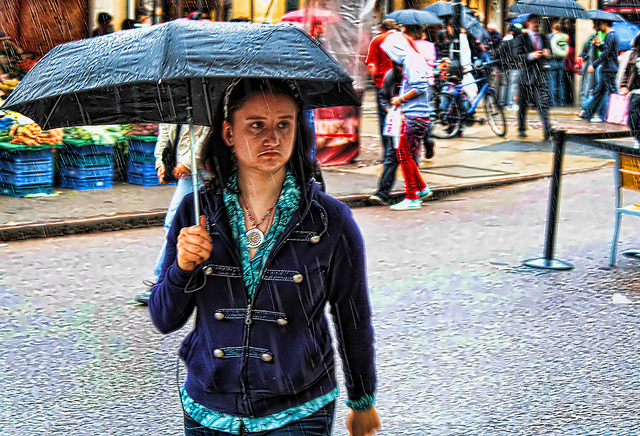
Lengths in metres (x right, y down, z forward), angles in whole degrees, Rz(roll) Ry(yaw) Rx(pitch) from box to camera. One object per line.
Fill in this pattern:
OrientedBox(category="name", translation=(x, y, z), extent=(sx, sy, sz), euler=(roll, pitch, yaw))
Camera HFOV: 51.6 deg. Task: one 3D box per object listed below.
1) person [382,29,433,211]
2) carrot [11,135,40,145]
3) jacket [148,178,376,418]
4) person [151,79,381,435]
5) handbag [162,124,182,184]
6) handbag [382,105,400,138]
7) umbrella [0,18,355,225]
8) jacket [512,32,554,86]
OrientedBox(category="person", translation=(1.346, -1.484, 10.040), extent=(0.736, 2.689, 0.841), euler=(2, 11, 9))
OrientedBox(category="carrot", translation=(-4.546, -1.212, 10.160), extent=(0.250, 0.143, 0.076), euler=(-12, -19, -43))
OrientedBox(category="jacket", translation=(-0.210, 0.335, 2.604), extent=(1.026, 0.792, 0.461), euler=(6, -6, -8))
OrientedBox(category="person", translation=(-0.204, 0.180, 2.527), extent=(0.871, 1.400, 0.459), euler=(-2, 11, -12))
OrientedBox(category="handbag", translation=(-1.343, -0.603, 5.976), extent=(0.173, 0.491, 0.322), euler=(10, 12, 5))
OrientedBox(category="handbag", translation=(1.058, -1.454, 9.782), extent=(0.225, 0.459, 0.297), euler=(1, 11, 4))
OrientedBox(category="umbrella", translation=(-0.466, -0.264, 2.784), extent=(1.318, 0.598, 1.061), euler=(-3, -2, 16))
OrientedBox(category="jacket", translation=(5.162, -3.952, 16.327), extent=(0.689, 1.324, 0.782), euler=(1, 11, 6))
